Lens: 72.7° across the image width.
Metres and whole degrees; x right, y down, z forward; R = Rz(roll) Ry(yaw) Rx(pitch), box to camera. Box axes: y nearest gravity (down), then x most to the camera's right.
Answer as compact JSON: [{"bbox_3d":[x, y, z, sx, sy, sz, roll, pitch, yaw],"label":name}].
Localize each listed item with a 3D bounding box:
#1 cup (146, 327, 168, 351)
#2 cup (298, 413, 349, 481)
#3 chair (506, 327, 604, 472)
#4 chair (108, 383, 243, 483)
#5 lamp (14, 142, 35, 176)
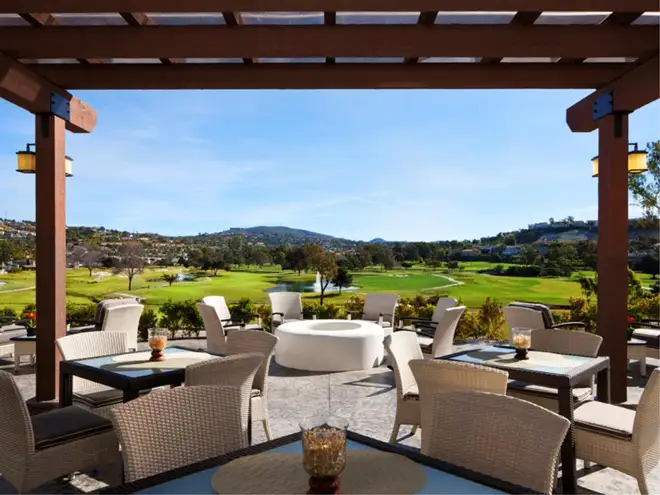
[{"bbox_3d":[-1.377,0.730,3.575,0.181,0.188,0.182,1,-5,0],"label":"cup"},{"bbox_3d":[-0.024,0.772,1.823,0.234,0.220,0.233,-2,-7,0],"label":"cup"},{"bbox_3d":[1.982,1.078,3.906,0.824,1.013,0.698,13,-13,-43],"label":"chair"},{"bbox_3d":[-0.792,0.911,2.411,0.451,0.668,0.482,-5,-19,-27],"label":"chair"},{"bbox_3d":[-3.727,-1.089,5.454,0.193,0.382,0.348,3,-3,-37],"label":"lamp"}]
